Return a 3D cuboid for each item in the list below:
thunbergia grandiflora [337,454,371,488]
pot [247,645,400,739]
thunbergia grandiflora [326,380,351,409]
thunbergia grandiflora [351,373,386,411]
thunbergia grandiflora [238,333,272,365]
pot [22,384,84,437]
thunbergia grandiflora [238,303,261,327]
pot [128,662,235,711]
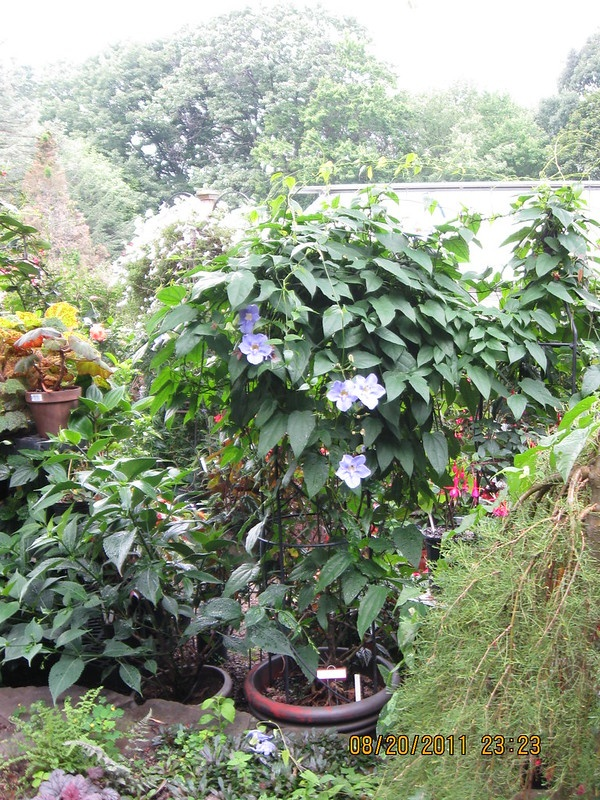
[{"bbox_3d":[0.127,0.161,1.465,0.087,0.072,0.025,1,-24,-15],"label":"thunbergia grandiflora"},{"bbox_3d":[0.008,0.797,1.714,0.275,0.107,0.422,-3,-4,-32],"label":"pot"},{"bbox_3d":[0.094,-0.012,1.447,0.047,0.047,0.048,-8,-4,41],"label":"thunbergia grandiflora"},{"bbox_3d":[0.160,-0.022,1.446,0.069,0.058,0.050,-6,-3,17],"label":"thunbergia grandiflora"},{"bbox_3d":[-0.096,-0.117,1.446,0.077,0.068,0.044,-5,-3,-5],"label":"thunbergia grandiflora"},{"bbox_3d":[-0.899,0.032,2.308,0.211,0.144,0.195,0,3,0],"label":"pot"},{"bbox_3d":[-0.116,-0.195,1.467,0.047,0.058,0.030,-5,-3,-8],"label":"thunbergia grandiflora"},{"bbox_3d":[-0.387,0.879,2.022,0.280,0.088,0.257,1,0,0],"label":"pot"}]
